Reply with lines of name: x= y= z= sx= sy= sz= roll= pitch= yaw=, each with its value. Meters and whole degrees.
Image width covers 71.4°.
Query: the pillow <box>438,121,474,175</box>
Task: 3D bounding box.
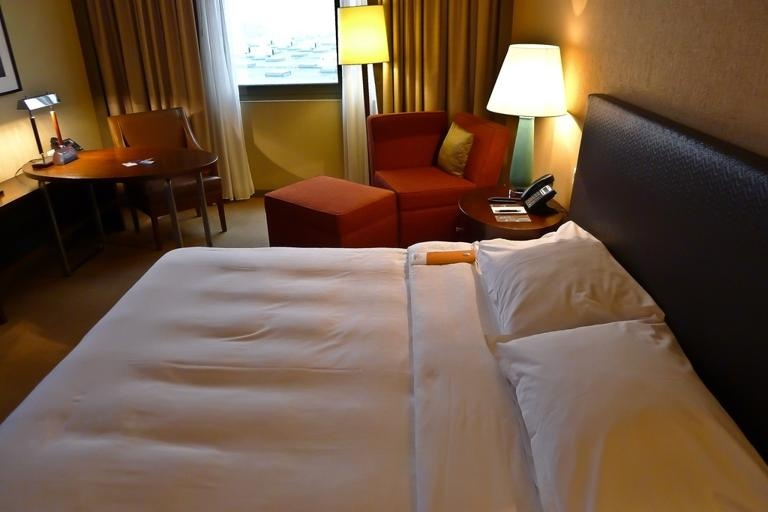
pillow: x=0.595 y=-0.863 z=4.407 sx=0.178 sy=0.334 sz=0.348 roll=-23 pitch=44 yaw=-18

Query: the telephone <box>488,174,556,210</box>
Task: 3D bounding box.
telephone: x=0.929 y=-0.417 z=3.600 sx=0.385 sy=0.227 sz=0.256 roll=1 pitch=23 yaw=11

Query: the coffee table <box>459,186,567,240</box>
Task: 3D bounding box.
coffee table: x=0.809 y=-0.237 z=3.520 sx=0.437 sy=0.473 sz=0.471 roll=-11 pitch=25 yaw=-26

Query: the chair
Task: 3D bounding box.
chair: x=-1.869 y=-0.620 z=4.512 sx=0.765 sy=1.165 sz=0.841 roll=-20 pitch=38 yaw=-32
